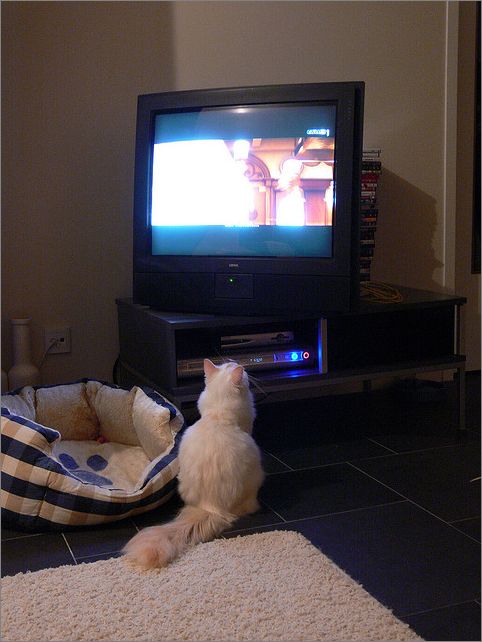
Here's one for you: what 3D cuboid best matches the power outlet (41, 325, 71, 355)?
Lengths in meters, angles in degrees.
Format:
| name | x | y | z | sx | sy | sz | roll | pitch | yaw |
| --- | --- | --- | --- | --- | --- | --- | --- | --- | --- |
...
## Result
| name | x | y | z | sx | sy | sz | roll | pitch | yaw |
| --- | --- | --- | --- | --- | --- | --- | --- | --- | --- |
| power outlet | -0.726 | 0.069 | 2.232 | 0.114 | 0.130 | 0.017 | -1 | 6 | -24 |
